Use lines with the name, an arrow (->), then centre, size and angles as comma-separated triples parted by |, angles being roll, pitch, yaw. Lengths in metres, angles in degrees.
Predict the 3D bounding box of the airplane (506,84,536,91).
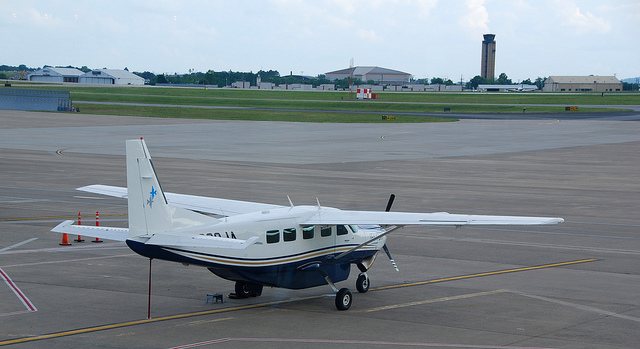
airplane -> 108.735, -46.923, 407.844 | 12.181, 4.393, 81.487 | 3, 6, 14

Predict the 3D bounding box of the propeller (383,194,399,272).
propeller -> 4.210, 3.331, 45.886 | 1.424, 3.868, 1.341 | 1, -2, -11
